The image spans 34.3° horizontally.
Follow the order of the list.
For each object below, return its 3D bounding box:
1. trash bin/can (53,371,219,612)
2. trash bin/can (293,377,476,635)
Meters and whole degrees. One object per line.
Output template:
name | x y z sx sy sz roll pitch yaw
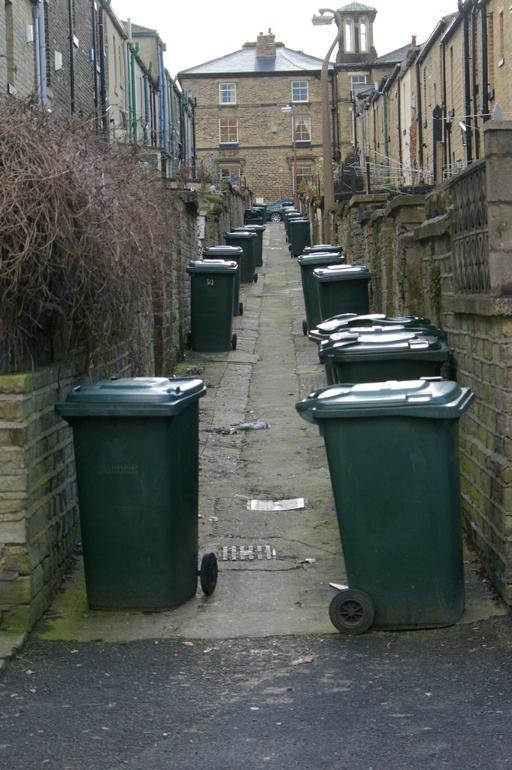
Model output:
trash bin/can | -0.585 0.562 4.276 0.620 1.164 0.579 -1 7 14
trash bin/can | 0.666 0.540 3.992 0.785 1.141 0.706 -6 10 5
